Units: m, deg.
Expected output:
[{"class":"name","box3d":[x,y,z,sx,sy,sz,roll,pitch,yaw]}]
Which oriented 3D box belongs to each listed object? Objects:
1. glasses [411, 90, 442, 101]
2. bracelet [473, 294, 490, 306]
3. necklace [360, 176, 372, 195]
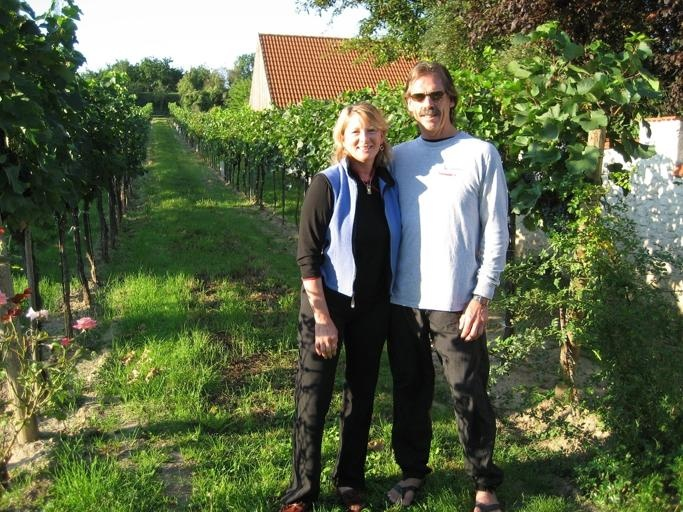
[{"class":"glasses","box3d":[0.572,-1.063,3.953,0.223,0.065,0.056,-1,0,11]},{"class":"bracelet","box3d":[0.937,0.285,3.924,0.072,0.050,0.077,5,-1,26]},{"class":"necklace","box3d":[0.176,-0.474,3.969,0.086,0.151,0.088,0,-10,-4]}]
